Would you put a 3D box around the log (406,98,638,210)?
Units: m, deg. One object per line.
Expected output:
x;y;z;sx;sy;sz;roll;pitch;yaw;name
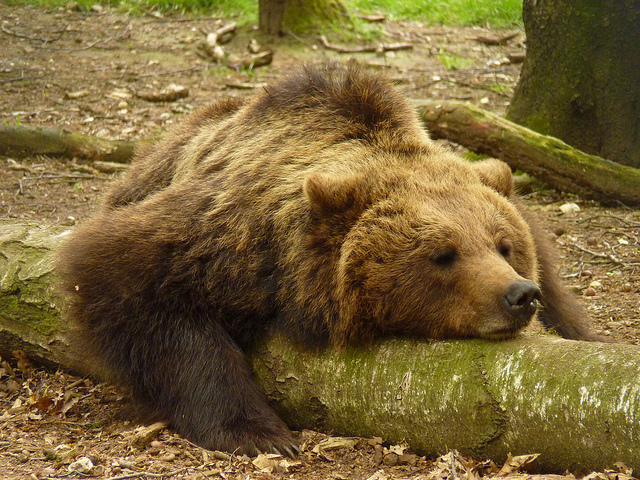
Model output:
2.180;-0.868;7.365;2.804;0.438;0.548;19;36;21;log

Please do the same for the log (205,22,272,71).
-1.282;-3.044;11.438;0.722;0.253;0.973;41;33;16;log

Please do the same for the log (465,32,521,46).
2.573;-2.957;10.760;0.217;0.153;0.706;-17;21;-37;log
